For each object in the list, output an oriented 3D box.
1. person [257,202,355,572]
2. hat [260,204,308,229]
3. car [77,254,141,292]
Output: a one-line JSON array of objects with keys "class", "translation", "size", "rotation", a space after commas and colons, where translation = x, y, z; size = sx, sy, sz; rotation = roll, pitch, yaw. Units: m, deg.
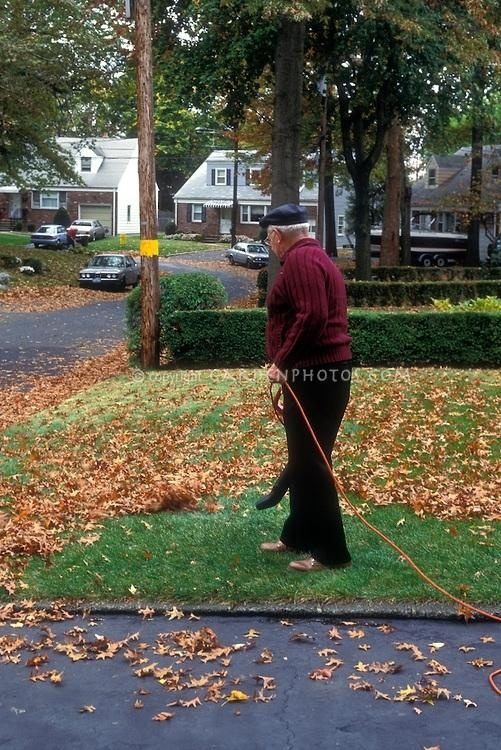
[{"class": "person", "translation": [0.317, 0.096, 6.252], "size": [0.570, 2.098, 0.528], "rotation": [-6, 12, -13]}, {"class": "hat", "translation": [0.164, -0.893, 6.208], "size": [0.192, 0.076, 0.161], "rotation": [5, 15, 43]}, {"class": "car", "translation": [-4.219, -2.959, 32.291], "size": [1.160, 1.097, 2.133], "rotation": [-1, 11, 13]}]
